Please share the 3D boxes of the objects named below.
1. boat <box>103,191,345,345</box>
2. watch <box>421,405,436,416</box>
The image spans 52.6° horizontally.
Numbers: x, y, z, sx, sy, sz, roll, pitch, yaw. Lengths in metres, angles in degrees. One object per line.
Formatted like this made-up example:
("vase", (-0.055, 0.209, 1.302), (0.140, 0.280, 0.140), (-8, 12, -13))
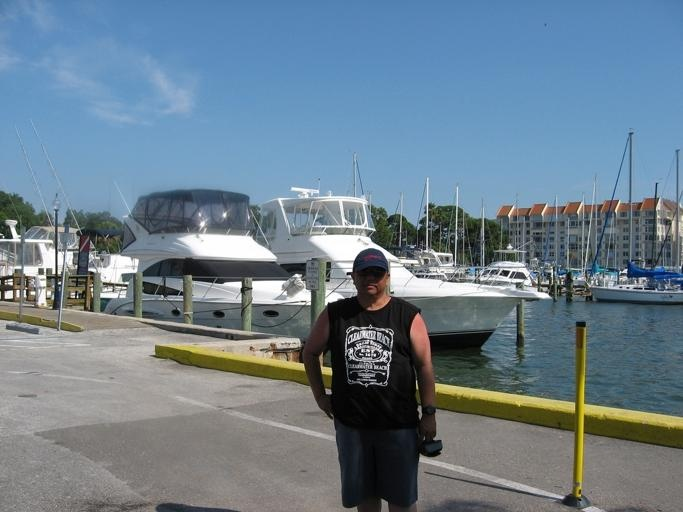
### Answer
("boat", (-4.042, 0.475, 21.786), (10.706, 5.393, 3.585), (-1, -5, 45))
("watch", (0.662, 1.173, 5.285), (0.085, 0.069, 0.099), (-2, -2, 10))
